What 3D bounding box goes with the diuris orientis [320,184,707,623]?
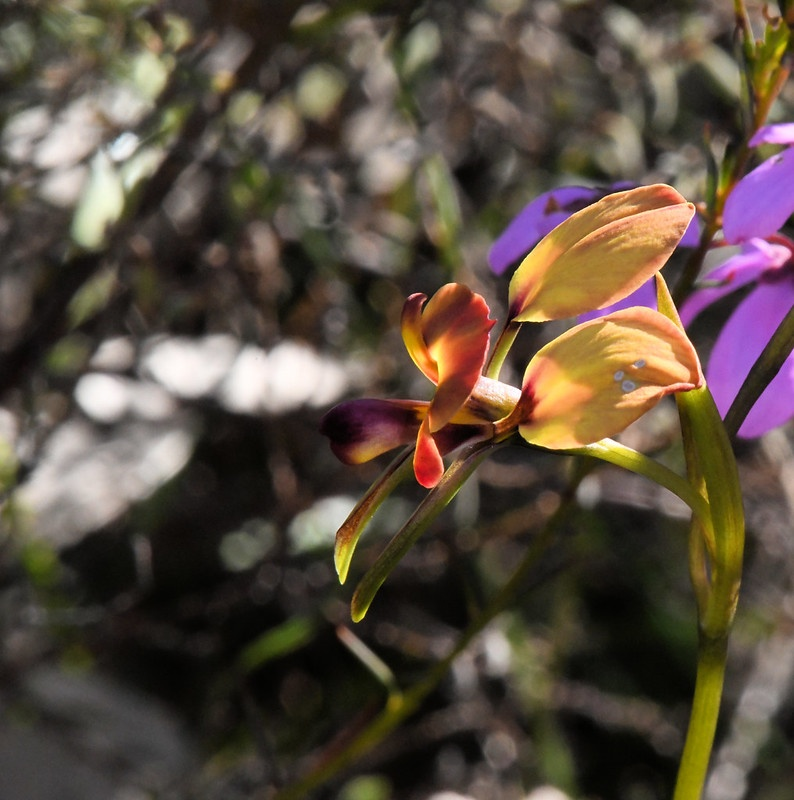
[{"bbox_3d":[0.063,-0.007,0.504,0.269,0.114,0.170,-21,67,-3],"label":"diuris orientis"}]
